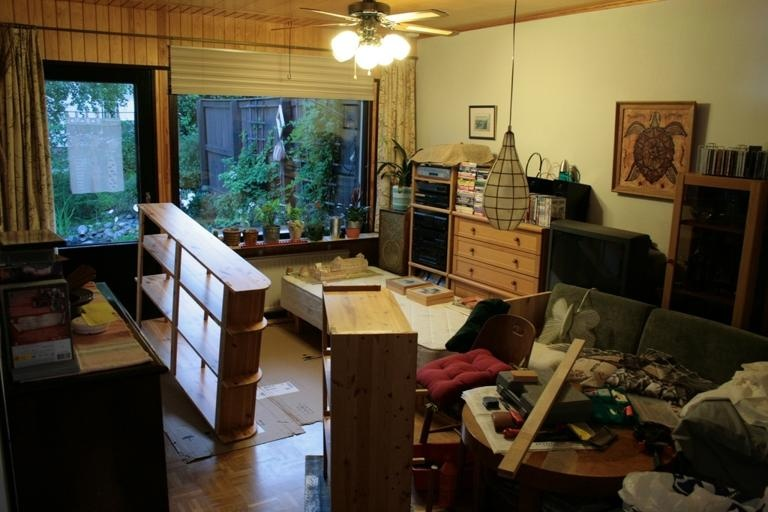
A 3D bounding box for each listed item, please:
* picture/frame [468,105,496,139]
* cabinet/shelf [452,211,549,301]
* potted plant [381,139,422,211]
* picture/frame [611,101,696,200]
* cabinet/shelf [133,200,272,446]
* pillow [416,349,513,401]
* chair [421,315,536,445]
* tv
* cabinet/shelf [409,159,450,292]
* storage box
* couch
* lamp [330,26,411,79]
[{"bbox_3d":[1.232,-1.671,7.073,0.032,0.431,0.433,-8,14,-40],"label":"picture/frame"},{"bbox_3d":[1.357,-0.016,6.624,1.139,0.832,0.444,16,23,39],"label":"cabinet/shelf"},{"bbox_3d":[0.222,-1.038,7.620,0.670,0.818,0.586,5,15,-5],"label":"potted plant"},{"bbox_3d":[2.630,-1.032,5.488,0.087,1.196,0.925,-5,11,-37],"label":"picture/frame"},{"bbox_3d":[-1.752,0.677,5.337,0.358,1.063,2.064,-7,30,-33],"label":"cabinet/shelf"},{"bbox_3d":[0.622,0.962,4.628,0.418,0.095,0.437,-19,5,29],"label":"pillow"},{"bbox_3d":[0.744,1.128,4.714,0.921,1.229,0.860,-3,5,7],"label":"chair"},{"bbox_3d":[2.165,-0.035,5.754,0.822,0.684,0.581,17,35,38],"label":"tv"},{"bbox_3d":[0.737,-0.430,7.321,0.449,1.491,0.738,-11,19,-39],"label":"cabinet/shelf"},{"bbox_3d":[0.549,1.522,4.238,0.420,0.208,0.626,-1,4,-14],"label":"storage box"},{"bbox_3d":[2.057,0.707,4.754,1.301,1.026,2.401,-3,13,-11],"label":"couch"},{"bbox_3d":[-0.102,-1.564,4.319,0.558,0.269,0.224,0,15,1],"label":"lamp"}]
